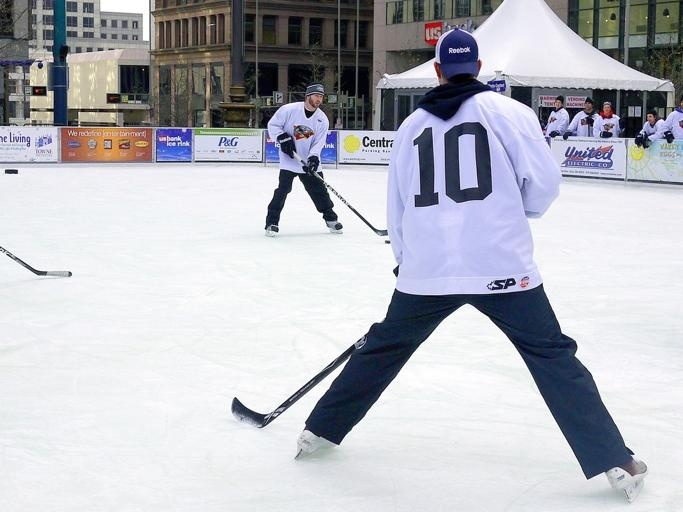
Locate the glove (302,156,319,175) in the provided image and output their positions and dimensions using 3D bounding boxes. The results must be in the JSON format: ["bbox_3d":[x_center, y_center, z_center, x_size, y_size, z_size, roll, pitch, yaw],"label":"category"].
[{"bbox_3d":[-0.370,-1.072,9.972,0.164,0.219,0.080,-6,-14,35],"label":"glove"}]

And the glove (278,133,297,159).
[{"bbox_3d":[-0.652,-1.305,9.943,0.180,0.301,0.081,-20,-17,15],"label":"glove"}]

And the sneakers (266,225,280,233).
[{"bbox_3d":[-0.862,-0.312,10.176,0.156,0.115,0.144,1,11,0],"label":"sneakers"}]

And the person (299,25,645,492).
[{"bbox_3d":[0.592,0.015,3.667,1.457,1.972,0.349,4,12,19],"label":"person"}]

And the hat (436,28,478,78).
[{"bbox_3d":[0.515,-0.861,3.656,0.155,0.237,0.130,-2,-29,5],"label":"hat"}]

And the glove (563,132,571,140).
[{"bbox_3d":[4.963,-2.601,18.205,0.122,0.161,0.148,0,11,9],"label":"glove"}]

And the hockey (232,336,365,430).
[{"bbox_3d":[-0.254,0.720,4.605,0.850,0.227,0.098,-31,-45,34],"label":"hockey"}]

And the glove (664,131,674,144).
[{"bbox_3d":[6.508,-2.332,16.465,0.184,0.226,0.240,4,12,19],"label":"glove"}]

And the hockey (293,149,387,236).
[{"bbox_3d":[0.017,-0.676,10.202,0.218,0.263,1.981,37,2,37],"label":"hockey"}]

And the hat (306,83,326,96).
[{"bbox_3d":[-0.324,-1.887,9.585,0.216,0.129,0.171,-6,3,25],"label":"hat"}]
